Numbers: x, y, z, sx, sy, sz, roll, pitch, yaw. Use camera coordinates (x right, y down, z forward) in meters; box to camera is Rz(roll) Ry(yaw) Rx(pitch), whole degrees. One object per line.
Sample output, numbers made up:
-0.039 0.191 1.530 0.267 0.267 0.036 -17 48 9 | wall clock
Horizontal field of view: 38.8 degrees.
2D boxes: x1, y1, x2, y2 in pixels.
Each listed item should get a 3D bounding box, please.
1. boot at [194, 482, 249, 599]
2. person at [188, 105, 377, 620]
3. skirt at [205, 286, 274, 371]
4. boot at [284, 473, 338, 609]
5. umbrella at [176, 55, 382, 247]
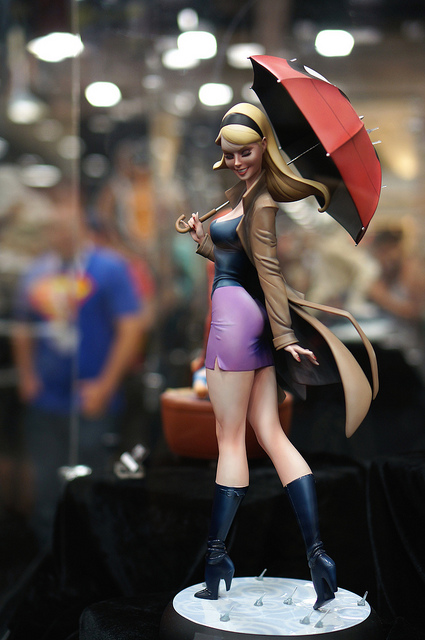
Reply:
0.025 0.560 1.531 0.148 0.276 0.074 -5 -25 21 | boot
0.196 0.108 1.512 0.435 1.209 0.584 2 21 -1 | person
0.073 -0.006 1.638 0.153 0.219 0.246 2 19 18 | skirt
0.251 0.545 1.495 0.090 0.305 0.199 -6 22 -22 | boot
0.289 -0.484 1.776 0.608 0.487 0.499 -14 18 -10 | umbrella
